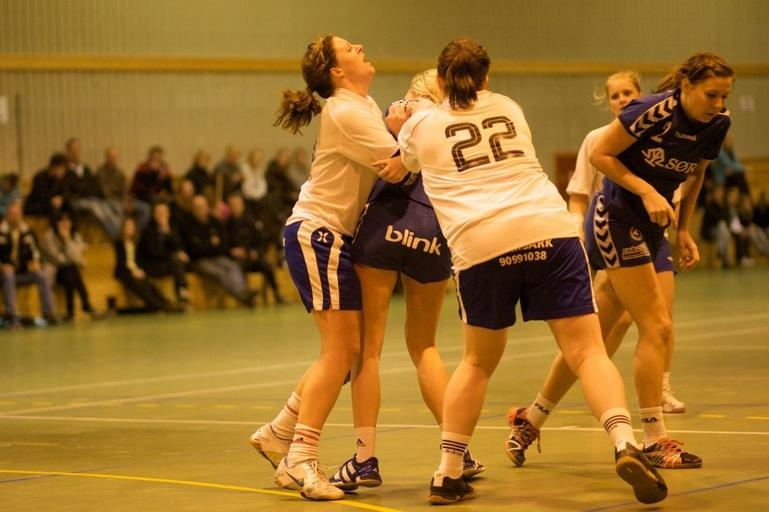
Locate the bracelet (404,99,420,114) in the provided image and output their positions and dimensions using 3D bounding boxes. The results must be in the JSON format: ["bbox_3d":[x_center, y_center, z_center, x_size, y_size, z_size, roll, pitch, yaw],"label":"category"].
[{"bbox_3d":[0.164,-0.928,5.189,0.094,0.085,0.073,-1,-6,10],"label":"bracelet"}]

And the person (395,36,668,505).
[{"bbox_3d":[0.687,0.052,4.597,1.296,2.561,0.517,-1,5,19],"label":"person"}]
